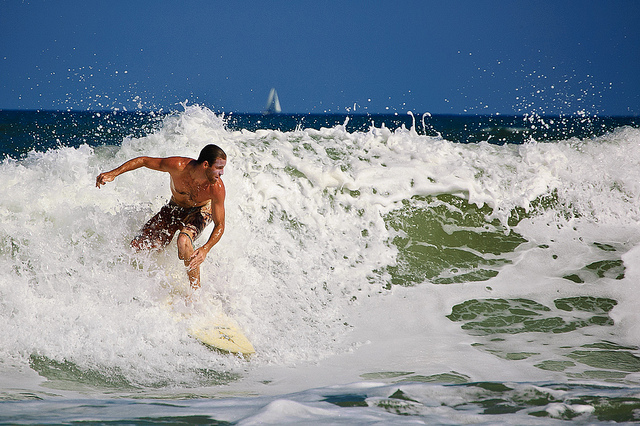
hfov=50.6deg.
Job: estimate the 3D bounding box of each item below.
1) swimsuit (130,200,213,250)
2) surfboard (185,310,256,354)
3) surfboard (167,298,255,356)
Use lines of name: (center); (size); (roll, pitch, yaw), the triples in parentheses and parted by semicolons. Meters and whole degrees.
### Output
swimsuit: (-1.759, 0.161, 8.047); (0.519, 0.916, 0.274); (53, -2, 30)
surfboard: (-1.149, 1.398, 7.817); (0.991, 0.097, 0.312); (27, 41, 25)
surfboard: (-1.213, 1.325, 7.883); (1.200, 0.131, 0.356); (30, 44, 30)
